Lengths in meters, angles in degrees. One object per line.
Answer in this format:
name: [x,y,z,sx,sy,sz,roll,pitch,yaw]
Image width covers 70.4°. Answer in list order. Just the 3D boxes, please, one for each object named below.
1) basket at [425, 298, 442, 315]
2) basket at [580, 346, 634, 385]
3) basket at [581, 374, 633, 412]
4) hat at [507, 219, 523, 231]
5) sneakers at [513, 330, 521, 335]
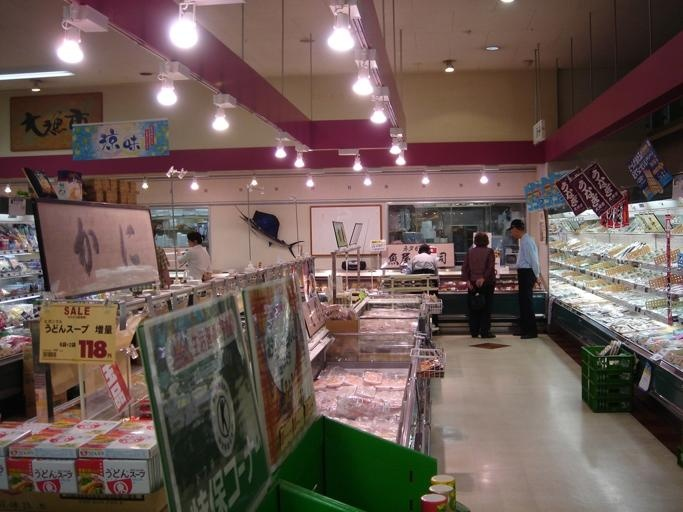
basket: [1.203,0.665,6.434,0.172,0.145,0.315,-1,1,9]
basket: [2.919,1.196,5.316,0.406,0.269,0.423,-2,1,5]
basket: [2.876,1.506,5.218,0.310,0.393,0.565,-1,0,9]
hat: [3.005,-0.559,8.597,0.361,0.211,0.275,4,5,36]
sneakers: [3.210,1.415,8.920,0.059,0.118,0.162,0,4,-26]
